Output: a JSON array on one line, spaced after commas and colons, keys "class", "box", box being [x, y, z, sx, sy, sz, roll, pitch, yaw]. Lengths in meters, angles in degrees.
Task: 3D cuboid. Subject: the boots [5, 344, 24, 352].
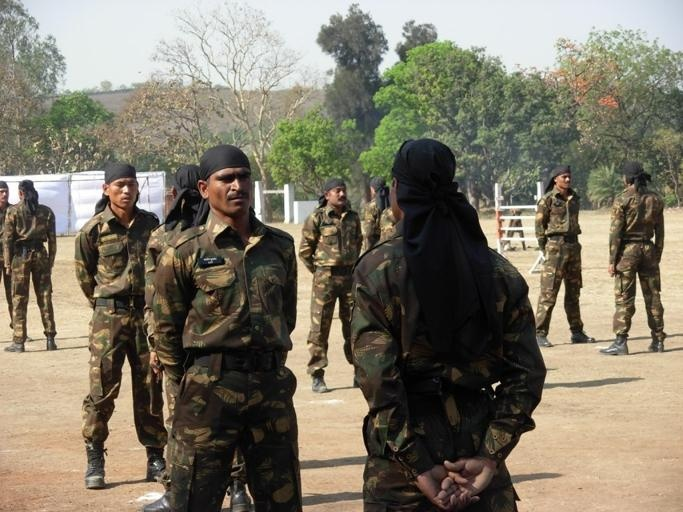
[{"class": "boots", "box": [-5.118, 1.421, 15.162, 0.374, 0.105, 0.208, -2, -1, 19]}]

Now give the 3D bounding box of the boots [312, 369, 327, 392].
[{"class": "boots", "box": [-0.277, 1.594, 12.461, 0.198, 0.244, 0.305, -2, -1, -1]}]

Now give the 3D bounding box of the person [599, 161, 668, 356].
[{"class": "person", "box": [4.142, 0.017, 13.733, 0.818, 2.612, 0.820, -3, -1, 17]}]

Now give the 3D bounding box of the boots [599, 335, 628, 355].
[{"class": "boots", "box": [3.831, 1.277, 13.876, 0.492, 0.321, 0.190, 2, 0, 11]}]

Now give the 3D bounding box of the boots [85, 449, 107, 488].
[{"class": "boots", "box": [-2.392, 2.039, 9.453, 0.191, 0.360, 0.559, 1, 3, -13]}]

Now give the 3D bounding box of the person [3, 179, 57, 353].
[{"class": "person", "box": [-4.877, 0.148, 15.195, 0.808, 1.930, 0.832, -2, -1, -17]}]
